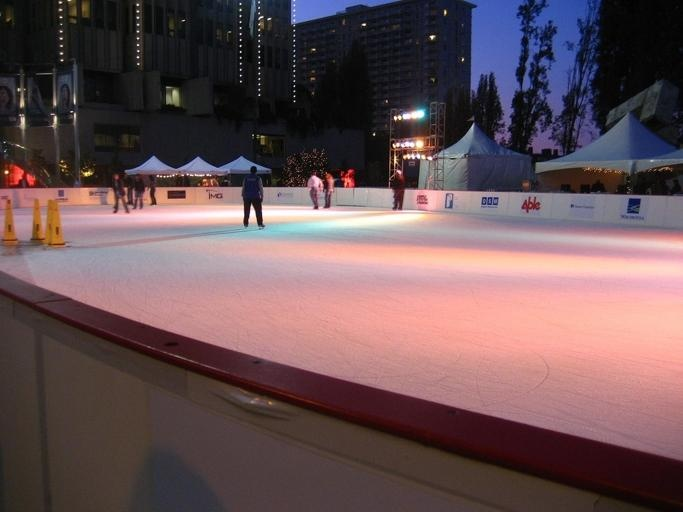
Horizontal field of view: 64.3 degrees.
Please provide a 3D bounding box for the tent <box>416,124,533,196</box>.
[{"bbox_3d":[9.034,-6.482,34.493,5.628,4.326,1.710,2,7,-7],"label":"tent"}]
